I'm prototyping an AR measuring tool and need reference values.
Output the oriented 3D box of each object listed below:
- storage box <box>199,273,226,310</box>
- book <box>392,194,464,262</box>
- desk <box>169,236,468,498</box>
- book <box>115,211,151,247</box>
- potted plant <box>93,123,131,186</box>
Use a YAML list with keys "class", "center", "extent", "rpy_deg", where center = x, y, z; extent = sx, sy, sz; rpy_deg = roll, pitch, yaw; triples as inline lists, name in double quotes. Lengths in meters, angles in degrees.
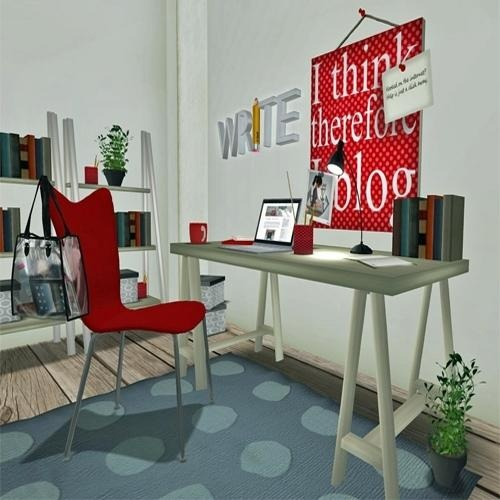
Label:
- class: "storage box"
  center: [-0.246, 0.275, 2.888]
  extent: [0.169, 0.238, 0.328]
  rpy_deg: [2, 4, 28]
- class: "book"
  center: [0.730, -0.091, 1.805]
  extent: [0.322, 0.346, 0.228]
  rpy_deg: [1, 1, 40]
- class: "desk"
  center: [0.021, 0.286, 2.344]
  extent: [0.890, 0.827, 2.108]
  rpy_deg: [-10, 15, -42]
- class: "book"
  center: [-0.855, -0.117, 3.009]
  extent: [0.205, 0.299, 0.280]
  rpy_deg: [-2, 2, -34]
- class: "potted plant"
  center: [-0.958, -0.680, 2.955]
  extent: [0.229, 0.437, 0.446]
  rpy_deg: [-3, 11, -16]
